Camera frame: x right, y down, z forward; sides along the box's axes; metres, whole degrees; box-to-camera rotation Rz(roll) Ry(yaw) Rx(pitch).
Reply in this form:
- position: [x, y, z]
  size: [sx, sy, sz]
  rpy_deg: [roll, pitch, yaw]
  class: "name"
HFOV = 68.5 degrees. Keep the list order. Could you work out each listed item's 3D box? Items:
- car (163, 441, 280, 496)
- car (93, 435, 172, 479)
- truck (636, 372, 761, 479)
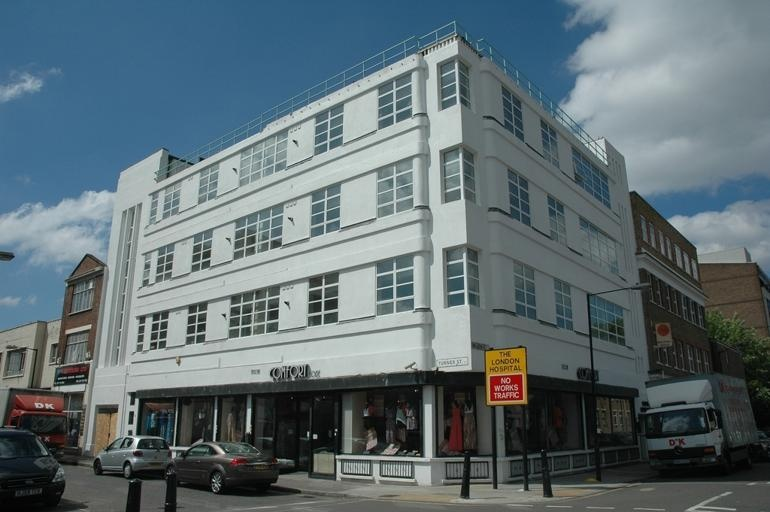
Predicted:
- position: [-7.340, 9.643, 25.921]
  size: [4.420, 2.270, 1.498]
  rpy_deg: [-15, -27, 27]
  class: "car"
- position: [-13.549, 10.888, 30.593]
  size: [5.279, 2.107, 1.957]
  rpy_deg: [-16, -28, 29]
  class: "car"
- position: [18.030, 9.480, 32.077]
  size: [10.597, 5.203, 4.711]
  rpy_deg: [16, -29, -34]
  class: "truck"
